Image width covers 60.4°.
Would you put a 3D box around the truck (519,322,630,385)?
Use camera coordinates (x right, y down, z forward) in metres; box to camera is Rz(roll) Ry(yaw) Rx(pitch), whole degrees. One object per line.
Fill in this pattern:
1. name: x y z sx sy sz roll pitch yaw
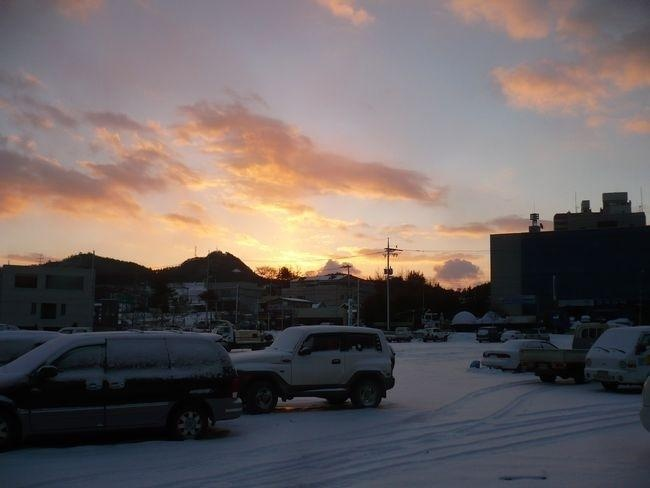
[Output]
1. truck: 11.452 4.867 24.946 6.040 2.748 2.902 0 -3 -32

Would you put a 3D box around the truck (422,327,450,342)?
1. truck: 14.942 12.516 76.229 3.214 1.572 2.084 -4 2 -22

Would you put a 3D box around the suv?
1. suv: -0.432 3.487 15.916 4.050 1.853 2.300 4 -10 -19
